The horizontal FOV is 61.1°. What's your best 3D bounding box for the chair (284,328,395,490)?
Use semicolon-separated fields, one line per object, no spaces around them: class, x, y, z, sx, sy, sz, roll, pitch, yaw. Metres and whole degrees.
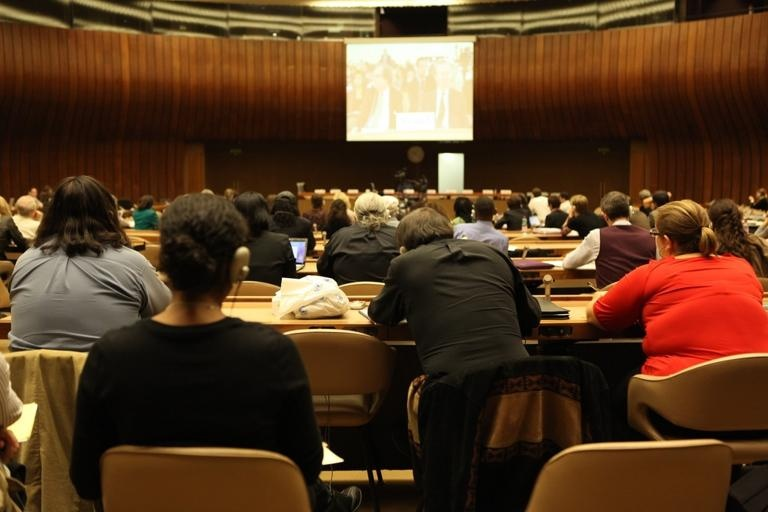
chair;-0.196;0.795;3.541;0.772;1.042;0.720;1;2;-1

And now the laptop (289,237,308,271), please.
laptop;-0.753;-0.012;5.757;0.284;0.247;0.214;3;16;-2
